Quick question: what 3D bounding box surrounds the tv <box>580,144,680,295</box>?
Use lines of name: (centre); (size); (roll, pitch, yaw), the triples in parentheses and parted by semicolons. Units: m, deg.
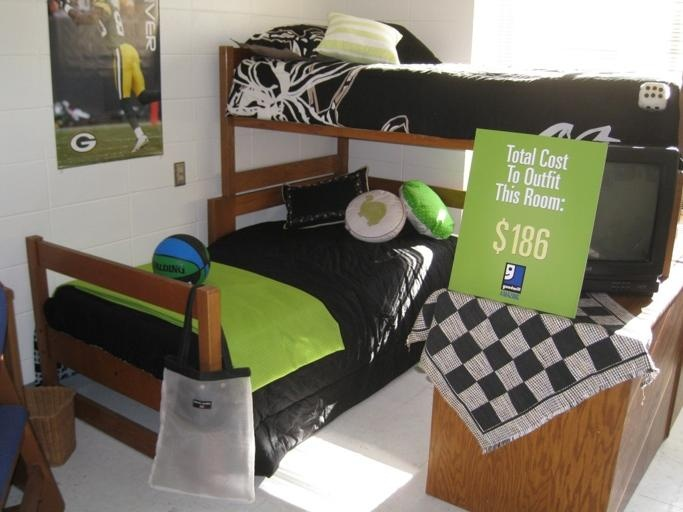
tv: (0.945, -0.109, 1.732); (0.253, 0.475, 0.155); (5, 20, 13)

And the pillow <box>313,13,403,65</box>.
pillow: (0.104, -1.403, 3.407); (0.535, 0.298, 0.374); (2, 20, 6)

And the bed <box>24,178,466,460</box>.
bed: (-0.506, 0.169, 3.038); (1.306, 1.019, 1.990); (14, 21, 36)

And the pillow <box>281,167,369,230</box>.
pillow: (-0.142, -0.388, 3.603); (0.537, 0.403, 0.161); (-13, -14, -4)

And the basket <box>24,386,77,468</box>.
basket: (-1.294, 0.739, 2.376); (0.182, 0.302, 0.254); (-14, 24, -33)

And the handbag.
handbag: (-0.549, 0.549, 2.013); (0.426, 0.809, 0.142); (2, 19, 6)

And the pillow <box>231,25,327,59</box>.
pillow: (-0.336, -1.379, 3.383); (0.463, 0.131, 0.327); (-23, 41, -30)

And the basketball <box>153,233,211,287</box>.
basketball: (-0.778, -0.015, 2.637); (0.279, 0.296, 0.272); (2, 4, 30)
